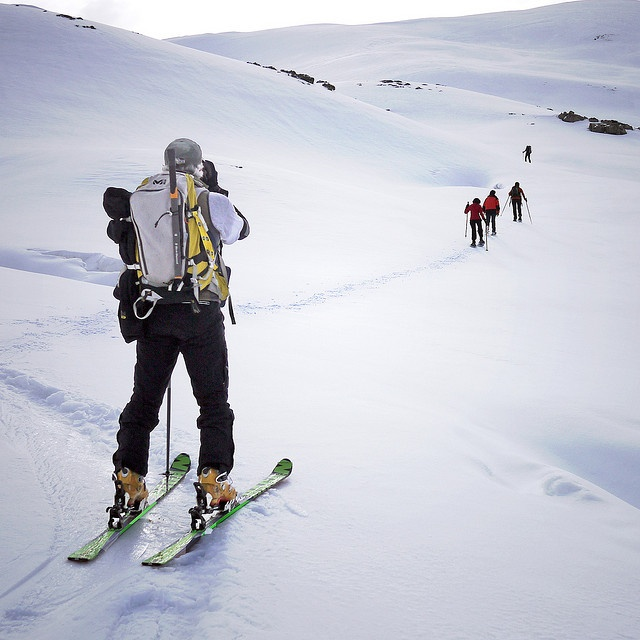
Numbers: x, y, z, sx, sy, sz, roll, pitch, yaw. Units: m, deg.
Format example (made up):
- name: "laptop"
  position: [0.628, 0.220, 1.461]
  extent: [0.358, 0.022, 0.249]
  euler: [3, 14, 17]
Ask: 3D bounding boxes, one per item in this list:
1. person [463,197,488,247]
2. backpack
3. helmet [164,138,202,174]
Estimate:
- name: "person"
  position: [3.532, -2.245, 16.181]
  extent: [0.522, 1.059, 1.468]
  euler: [8, 18, 10]
- name: "backpack"
  position: [-0.854, -0.452, 4.308]
  extent: [0.568, 0.856, 0.481]
  euler: [-1, 20, -12]
- name: "helmet"
  position: [-0.782, -1.044, 4.369]
  extent: [0.250, 0.222, 0.239]
  euler: [4, -11, 1]
